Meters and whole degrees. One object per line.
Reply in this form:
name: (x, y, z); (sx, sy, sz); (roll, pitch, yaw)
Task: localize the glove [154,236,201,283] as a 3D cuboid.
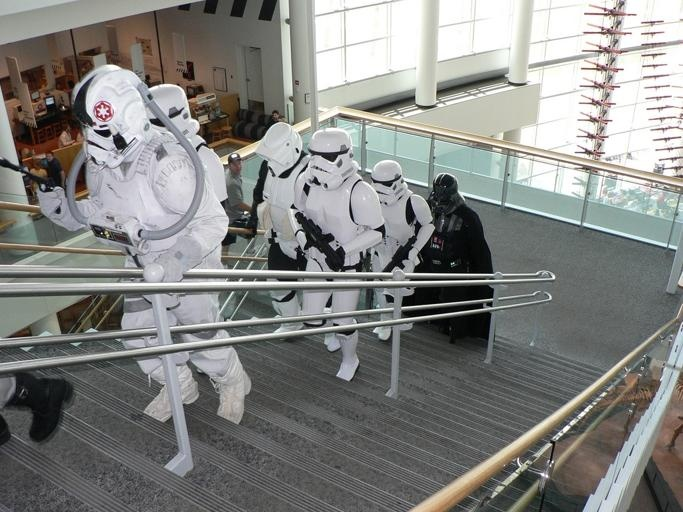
glove: (-0.801, 0.033, 2.151); (0.156, 0.137, 0.425); (-2, 22, -4)

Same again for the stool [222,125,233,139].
stool: (-3.775, -4.156, 14.715); (0.405, 0.468, 0.406); (-5, 19, -16)

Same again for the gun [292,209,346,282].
gun: (-0.178, -0.122, 3.921); (0.681, 0.410, 0.123); (43, 63, 8)

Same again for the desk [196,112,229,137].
desk: (-4.182, -4.316, 14.503); (0.877, 0.650, 1.088); (26, 43, 28)

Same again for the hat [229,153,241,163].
hat: (-1.347, -1.251, 5.566); (0.108, 0.071, 0.142); (-20, 16, -24)

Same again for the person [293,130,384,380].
person: (-0.133, 0.032, 4.125); (0.888, 2.329, 0.838); (11, 27, 25)
